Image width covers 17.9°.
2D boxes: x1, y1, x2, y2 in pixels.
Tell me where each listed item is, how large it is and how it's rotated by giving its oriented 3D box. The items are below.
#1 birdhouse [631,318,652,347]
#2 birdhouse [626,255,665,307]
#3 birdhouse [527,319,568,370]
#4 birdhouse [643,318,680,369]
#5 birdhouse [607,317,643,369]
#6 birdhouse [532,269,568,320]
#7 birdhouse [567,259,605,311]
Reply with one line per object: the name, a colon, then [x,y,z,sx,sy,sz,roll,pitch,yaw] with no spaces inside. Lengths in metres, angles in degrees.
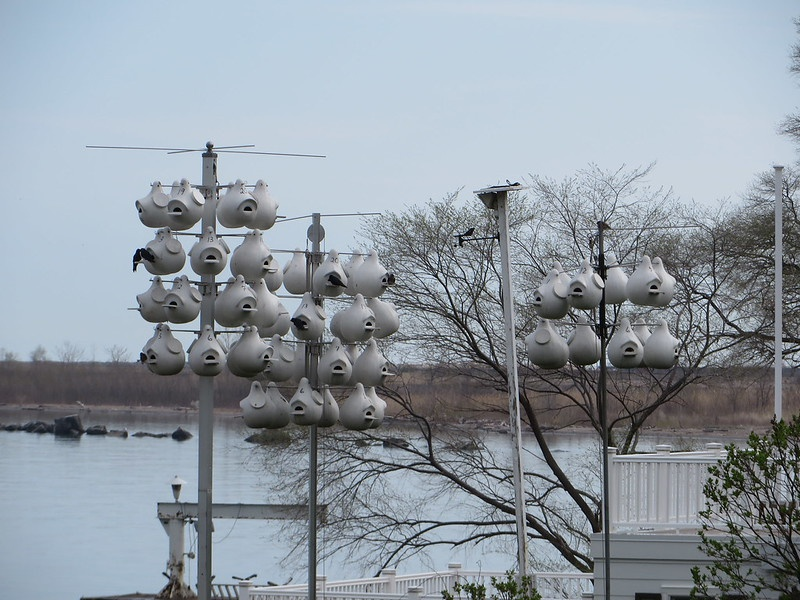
birdhouse: [4.652,0.505,49.825,0.406,0.624,0.432,-5,-1,-2]
birdhouse: [4.706,-0.493,49.379,0.914,1.056,0.959,0,-1,27]
birdhouse: [2.790,0.730,49.240,0.671,1.211,0.909,-4,-12,12]
birdhouse: [4.993,0.746,49.368,0.694,0.948,0.484,-2,-11,-4]
birdhouse: [4.307,0.712,49.211,0.785,1.002,0.800,-4,5,-31]
birdhouse: [2.895,-0.213,49.106,0.702,1.060,0.726,17,-18,-40]
birdhouse: [3.549,-0.379,48.965,0.867,1.193,0.793,0,-6,7]
